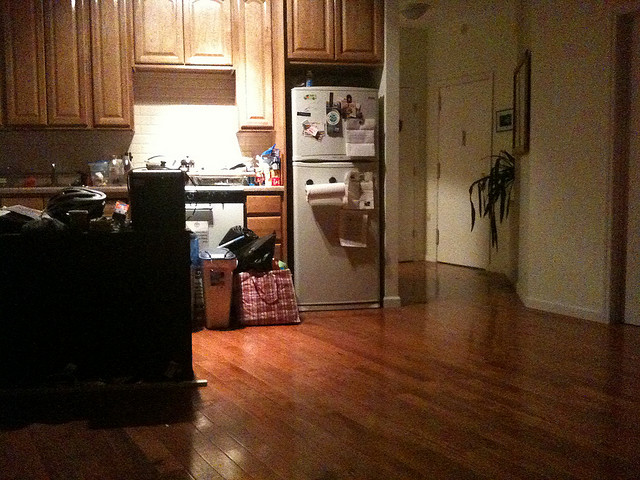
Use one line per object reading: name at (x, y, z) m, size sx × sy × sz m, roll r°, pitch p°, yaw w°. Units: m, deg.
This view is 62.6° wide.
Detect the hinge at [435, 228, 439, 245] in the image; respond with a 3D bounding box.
hinge at (1.554, -0.055, 6.986) m, size 0.065 × 0.210 × 0.025 m, roll 7°, pitch 10°, yaw 41°

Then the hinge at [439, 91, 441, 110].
hinge at (1.552, -1.785, 6.799) m, size 0.022 × 0.205 × 0.011 m, roll 4°, pitch 9°, yaw 28°

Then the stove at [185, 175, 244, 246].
stove at (-0.892, -0.282, 4.690) m, size 0.755 × 0.737 × 0.559 m, roll 0°, pitch 1°, yaw -11°

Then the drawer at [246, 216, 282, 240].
drawer at (-0.480, -0.100, 4.537) m, size 0.303 × 0.193 × 0.064 m, roll -1°, pitch 8°, yaw -3°

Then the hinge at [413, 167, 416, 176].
hinge at (1.257, -0.906, 6.990) m, size 0.037 × 0.107 × 0.008 m, roll -2°, pitch 8°, yaw -16°

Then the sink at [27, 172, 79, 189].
sink at (-2.378, -0.536, 4.677) m, size 0.394 × 0.120 × 0.450 m, roll -2°, pitch 8°, yaw -13°

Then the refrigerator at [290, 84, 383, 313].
refrigerator at (0.149, -0.332, 4.515) m, size 0.776 × 1.903 × 0.328 m, roll 1°, pitch 8°, yaw 5°

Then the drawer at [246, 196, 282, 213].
drawer at (-0.484, -0.306, 4.519) m, size 0.292 × 0.140 × 0.042 m, roll -1°, pitch 8°, yaw -4°

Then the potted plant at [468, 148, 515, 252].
potted plant at (1.935, -0.429, 5.968) m, size 0.457 × 1.218 × 0.905 m, roll 2°, pitch 8°, yaw 17°

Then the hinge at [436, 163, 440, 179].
hinge at (1.552, -0.896, 6.883) m, size 0.042 × 0.194 × 0.016 m, roll 7°, pitch 10°, yaw 42°

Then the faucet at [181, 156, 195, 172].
faucet at (-1.219, -0.698, 4.819) m, size 0.112 × 0.108 × 0.044 m, roll -1°, pitch -20°, yaw -17°
